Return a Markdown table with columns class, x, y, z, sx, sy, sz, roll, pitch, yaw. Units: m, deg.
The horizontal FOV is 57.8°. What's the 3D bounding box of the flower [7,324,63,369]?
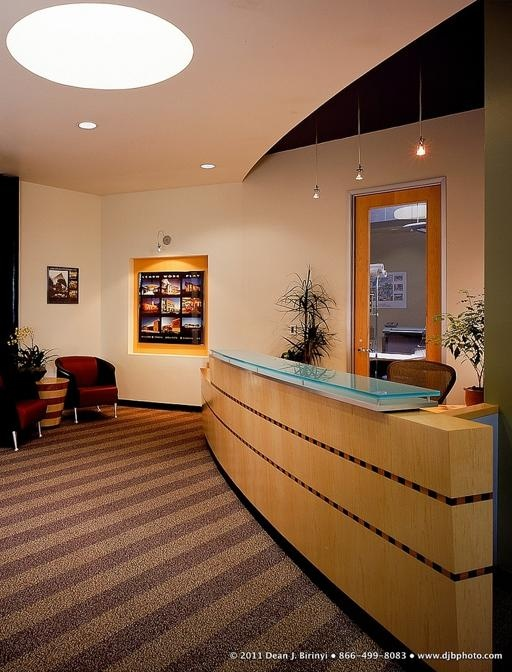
| class | x | y | z | sx | sy | sz | roll | pitch | yaw |
| --- | --- | --- | --- | --- | --- | --- | --- | --- | --- |
| flower | -3.039 | 0.196 | 6.134 | 0.545 | 0.465 | 0.591 | 1 | 4 | -19 |
